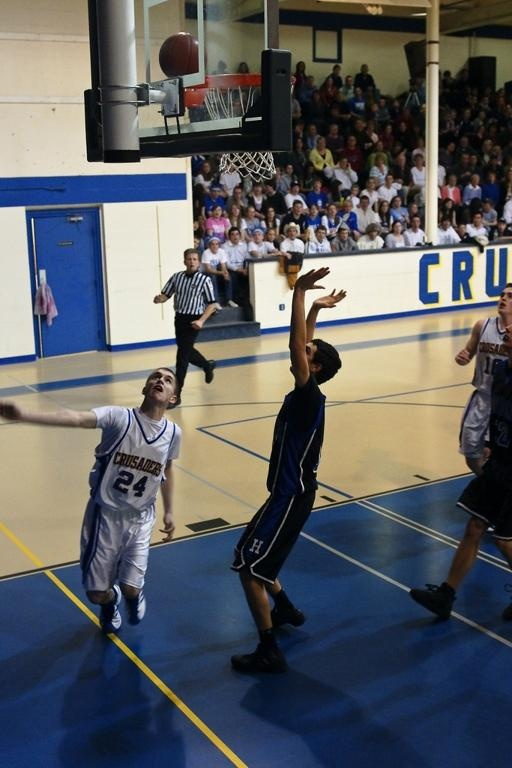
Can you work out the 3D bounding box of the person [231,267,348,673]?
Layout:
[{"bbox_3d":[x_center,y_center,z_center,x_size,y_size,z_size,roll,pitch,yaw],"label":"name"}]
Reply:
[{"bbox_3d":[0.140,0.403,3.070,0.485,1.847,0.693,0,9,8],"label":"person"}]

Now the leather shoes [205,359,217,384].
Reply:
[{"bbox_3d":[-0.684,-0.177,9.403,0.120,0.354,0.152,5,-8,25],"label":"leather shoes"}]

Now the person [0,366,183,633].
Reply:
[{"bbox_3d":[-0.724,0.651,2.918,0.439,1.349,0.904,3,10,23],"label":"person"}]

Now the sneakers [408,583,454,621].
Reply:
[{"bbox_3d":[0.932,1.158,3.487,0.224,0.158,0.077,31,-15,0],"label":"sneakers"}]

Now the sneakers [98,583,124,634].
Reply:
[{"bbox_3d":[-0.764,1.175,3.408,0.105,0.180,0.294,-15,6,-4],"label":"sneakers"}]

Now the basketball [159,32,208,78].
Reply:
[{"bbox_3d":[-0.426,-1.806,3.727,0.262,0.296,0.253,-13,20,-31],"label":"basketball"}]

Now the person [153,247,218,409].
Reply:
[{"bbox_3d":[-0.924,-0.802,8.897,0.751,2.037,1.418,-2,9,-7],"label":"person"}]

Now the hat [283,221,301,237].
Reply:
[{"bbox_3d":[0.758,-3.279,13.988,0.319,0.332,0.601,1,9,14],"label":"hat"}]

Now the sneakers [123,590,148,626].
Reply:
[{"bbox_3d":[-0.587,1.124,3.264,0.096,0.259,0.110,-4,16,0],"label":"sneakers"}]
